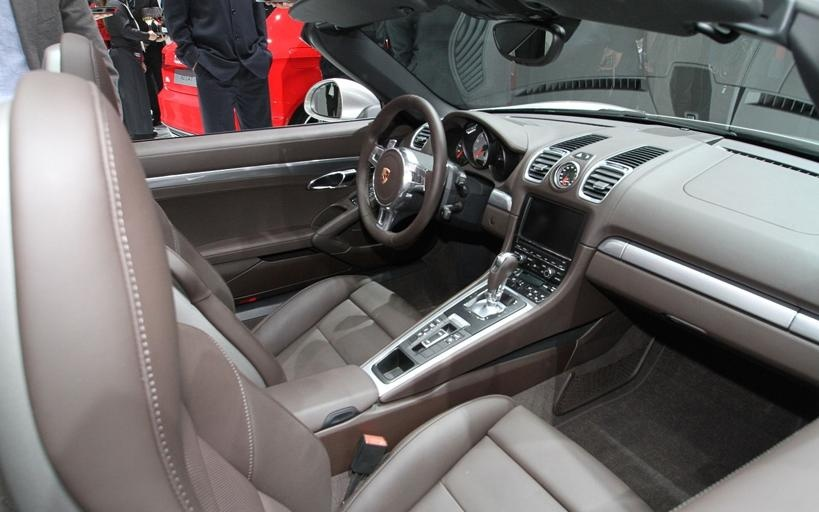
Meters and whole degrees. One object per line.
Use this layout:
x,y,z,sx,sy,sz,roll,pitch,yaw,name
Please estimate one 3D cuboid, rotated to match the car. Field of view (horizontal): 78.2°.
-1.078,-1.211,3.855,1.551,0.755,0.926,-6,14,-39,car
